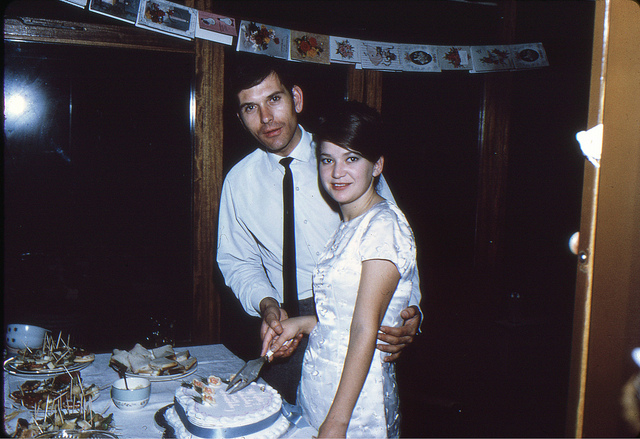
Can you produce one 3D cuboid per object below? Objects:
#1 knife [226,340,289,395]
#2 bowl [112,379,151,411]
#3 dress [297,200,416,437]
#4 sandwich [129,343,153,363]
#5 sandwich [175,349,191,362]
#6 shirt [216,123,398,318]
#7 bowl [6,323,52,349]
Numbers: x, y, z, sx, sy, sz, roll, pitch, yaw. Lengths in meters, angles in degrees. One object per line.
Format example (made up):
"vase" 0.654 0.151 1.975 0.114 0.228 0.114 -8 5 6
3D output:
"knife" -0.331 0.759 2.742 0.086 0.023 0.418 36 42 15
"bowl" -0.939 0.882 2.638 0.152 0.101 0.156 0 -15 0
"dress" 0.195 0.541 2.744 0.585 1.284 0.449 0 5 -10
"sandwich" -1.042 0.792 3.075 0.098 0.031 0.096 39 27 2
"sandwich" -0.794 0.792 3.057 0.053 0.021 0.054 -12 15 -25
"shirt" -0.097 -0.079 3.550 0.927 0.907 0.461 -17 -19 22
"bowl" -1.742 0.694 3.136 0.171 0.083 0.152 18 -26 -32
